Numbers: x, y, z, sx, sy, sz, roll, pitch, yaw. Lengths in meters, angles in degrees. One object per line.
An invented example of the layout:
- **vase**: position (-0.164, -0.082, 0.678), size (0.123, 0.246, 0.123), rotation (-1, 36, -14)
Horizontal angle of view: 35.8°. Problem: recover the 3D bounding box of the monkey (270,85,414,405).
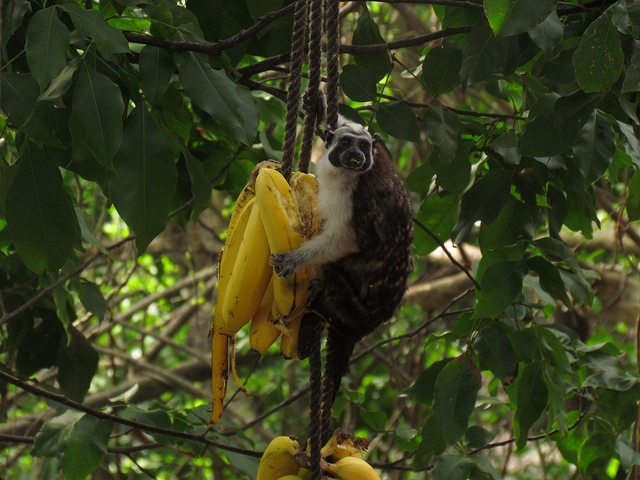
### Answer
- **monkey**: position (0.230, 0.005, 5.749), size (0.734, 1.185, 1.825), rotation (-2, -76, 28)
